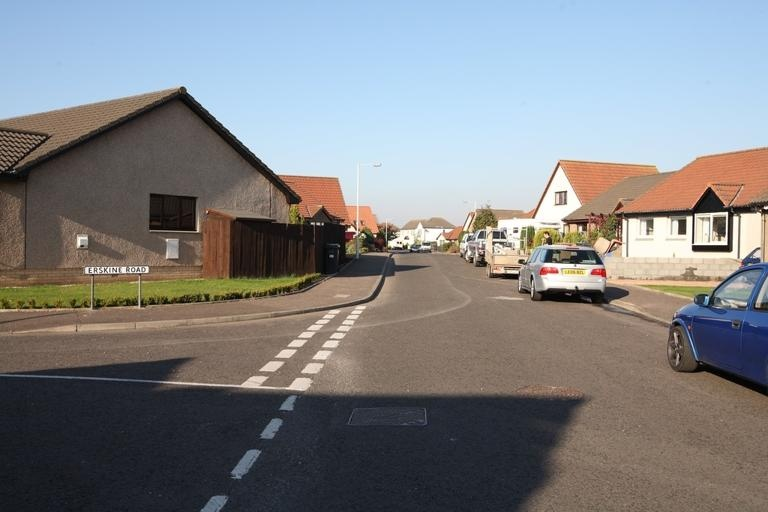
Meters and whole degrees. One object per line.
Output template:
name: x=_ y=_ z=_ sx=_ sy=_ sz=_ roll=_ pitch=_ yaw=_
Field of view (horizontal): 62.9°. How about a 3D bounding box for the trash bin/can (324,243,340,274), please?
trash bin/can: x=-2.602 y=0.135 z=31.323 sx=0.604 sy=1.426 sz=0.473 roll=-3 pitch=6 yaw=-29
